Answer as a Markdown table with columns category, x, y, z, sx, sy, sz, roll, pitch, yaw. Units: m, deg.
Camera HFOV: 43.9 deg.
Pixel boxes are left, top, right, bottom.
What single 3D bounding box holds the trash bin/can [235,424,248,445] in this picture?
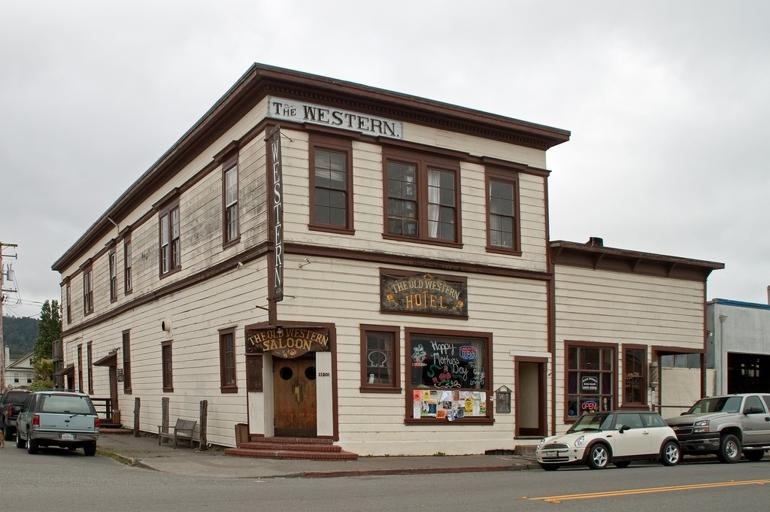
| category | x | y | z | sx | sy | sz | roll | pitch | yaw |
| --- | --- | --- | --- | --- | --- | --- | --- | --- | --- |
| trash bin/can | -5.278 | 6.536 | 34.927 | 0.603 | 0.795 | 0.295 | -8 | -17 | 30 |
